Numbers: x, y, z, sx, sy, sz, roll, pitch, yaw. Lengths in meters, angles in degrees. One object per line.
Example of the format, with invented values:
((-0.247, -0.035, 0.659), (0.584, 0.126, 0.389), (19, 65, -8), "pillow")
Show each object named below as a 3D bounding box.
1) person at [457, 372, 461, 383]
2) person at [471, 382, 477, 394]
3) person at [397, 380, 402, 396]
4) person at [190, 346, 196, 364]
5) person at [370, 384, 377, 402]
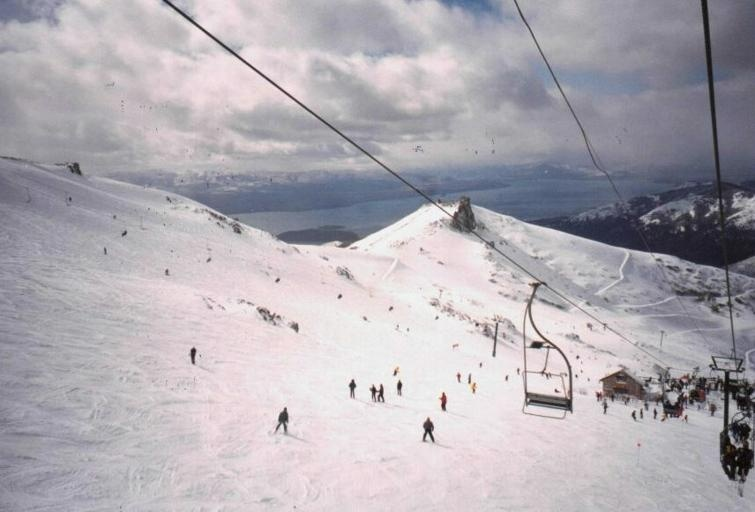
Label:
((8.361, 12.540, 61.990), (0.557, 1.033, 2.096), (3, -14, 8), "person")
((9.333, 12.881, 58.998), (0.365, 0.840, 0.658), (2, 3, 25), "person")
((2.054, 12.092, 55.228), (0.544, 1.308, 1.354), (5, -14, 1), "person")
((-15.778, 8.548, 51.875), (0.484, 1.425, 0.585), (4, -6, -36), "person")
((-0.301, 12.028, 52.911), (0.565, 1.380, 1.343), (5, -14, 0), "person")
